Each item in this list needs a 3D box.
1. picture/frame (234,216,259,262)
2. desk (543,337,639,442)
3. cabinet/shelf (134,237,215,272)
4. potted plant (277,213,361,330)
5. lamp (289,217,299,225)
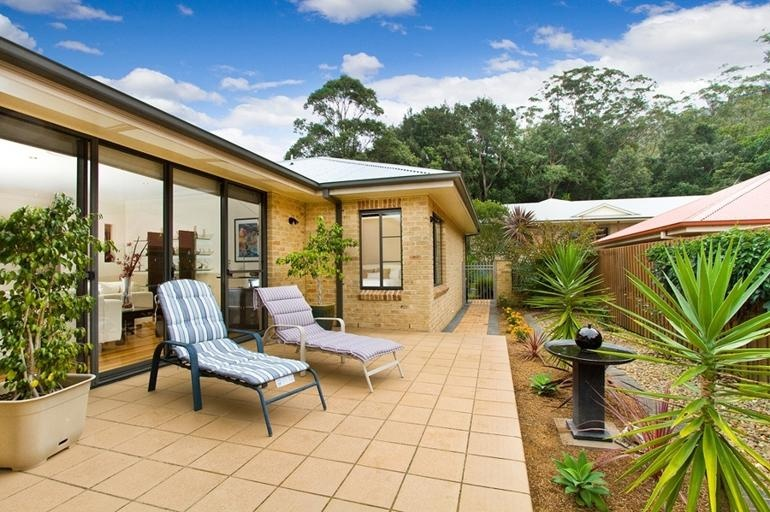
[{"bbox_3d":[-2.757,-0.345,9.673,0.058,1.065,0.985,0,-1,27],"label":"picture/frame"},{"bbox_3d":[2.497,1.762,6.353,1.285,1.175,1.265,0,-2,-14],"label":"desk"},{"bbox_3d":[-3.540,-0.071,8.552,1.268,0.749,0.632,-3,1,-3],"label":"cabinet/shelf"},{"bbox_3d":[-1.239,0.227,10.263,2.155,2.146,1.690,5,-7,32],"label":"potted plant"},{"bbox_3d":[-2.013,-0.785,10.804,0.166,0.129,0.121,-5,4,-5],"label":"lamp"}]
